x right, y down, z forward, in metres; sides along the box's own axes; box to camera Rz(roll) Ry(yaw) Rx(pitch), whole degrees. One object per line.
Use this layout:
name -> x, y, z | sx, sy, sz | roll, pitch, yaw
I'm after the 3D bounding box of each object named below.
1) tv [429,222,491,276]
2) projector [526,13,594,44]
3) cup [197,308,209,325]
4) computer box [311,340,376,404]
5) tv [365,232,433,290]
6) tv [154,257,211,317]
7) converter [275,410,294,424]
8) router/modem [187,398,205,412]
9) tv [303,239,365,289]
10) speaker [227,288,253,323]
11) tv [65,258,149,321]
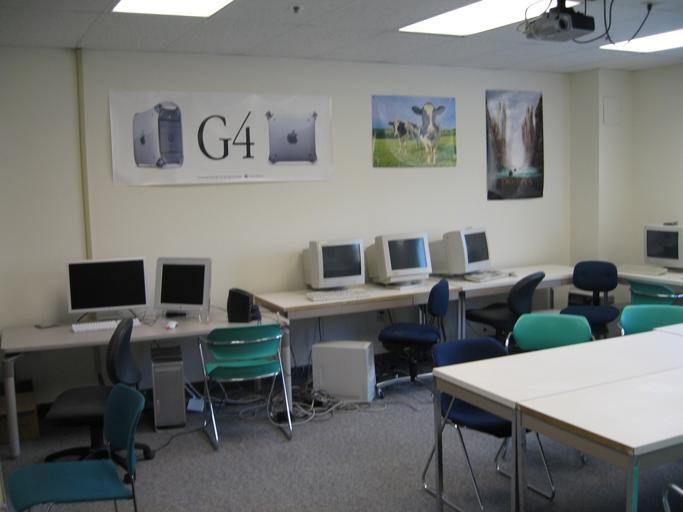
tv -> 1.361, -0.102, 6.428 | 0.552, 0.582, 0.542 | -7, 5, -42
projector -> 1.586, -1.682, 4.052 | 0.469, 0.198, 0.255 | 3, 12, 23
cup -> -1.264, 0.553, 5.102 | 0.111, 0.143, 0.119 | -1, -9, 0
computer box -> 0.035, 1.163, 5.555 | 0.627, 0.618, 0.678 | -3, -13, 19
tv -> 0.645, 0.008, 6.143 | 0.647, 0.636, 0.504 | -2, 2, -21
tv -> -1.482, 0.281, 5.206 | 0.477, 0.531, 0.262 | 0, 1, 4
converter -> -0.507, 1.433, 4.942 | 0.170, 0.126, 0.098 | 1, -5, -16
router/modem -> -1.351, 1.377, 5.155 | 0.110, 0.030, 0.121 | 3, 23, -10
tv -> -0.078, 0.064, 5.925 | 0.624, 0.615, 0.455 | -2, 4, -24
speaker -> -0.928, 0.444, 5.048 | 0.259, 0.365, 0.240 | -3, 1, -6
tv -> -2.155, 0.292, 5.055 | 0.486, 0.442, 0.151 | -2, -4, -15
